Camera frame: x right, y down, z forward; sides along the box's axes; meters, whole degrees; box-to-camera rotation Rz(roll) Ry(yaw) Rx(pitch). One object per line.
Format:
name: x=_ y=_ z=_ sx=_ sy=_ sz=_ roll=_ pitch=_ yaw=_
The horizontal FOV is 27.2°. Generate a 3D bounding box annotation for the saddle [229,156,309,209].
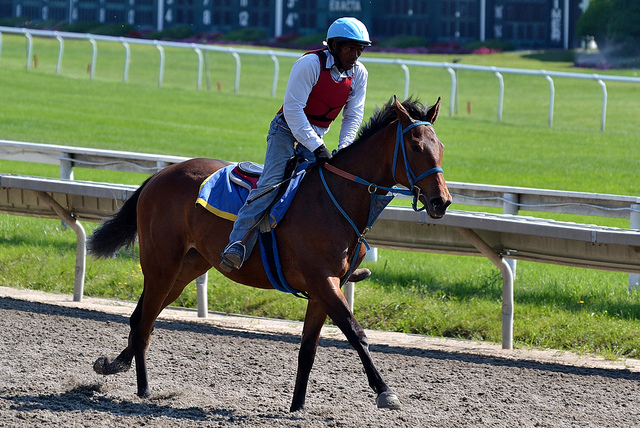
saddle: x=-0.590 y=-0.298 z=14.429 sx=0.730 sy=0.255 sz=0.565 roll=-4 pitch=8 yaw=10

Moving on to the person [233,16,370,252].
person: x=-0.154 y=-0.899 z=14.260 sx=1.254 sy=2.405 sz=0.567 roll=3 pitch=9 yaw=0
